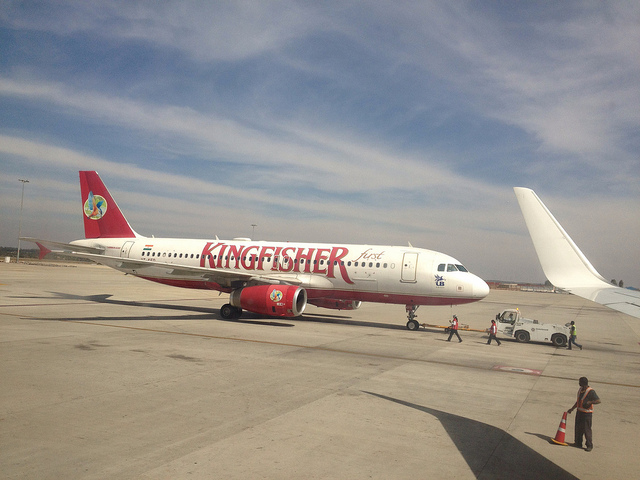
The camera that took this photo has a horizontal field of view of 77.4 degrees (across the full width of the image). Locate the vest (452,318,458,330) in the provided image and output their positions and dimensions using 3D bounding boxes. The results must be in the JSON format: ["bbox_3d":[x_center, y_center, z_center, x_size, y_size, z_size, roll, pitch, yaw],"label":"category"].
[{"bbox_3d":[7.524,4.699,22.272,0.183,0.640,0.313,3,-4,13],"label":"vest"}]

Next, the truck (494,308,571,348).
[{"bbox_3d":[12.786,5.394,24.114,3.721,1.485,2.367,2,-3,23],"label":"truck"}]

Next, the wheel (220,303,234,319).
[{"bbox_3d":[-5.964,4.676,25.857,1.238,1.157,0.460,-4,-6,6],"label":"wheel"}]

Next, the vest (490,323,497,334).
[{"bbox_3d":[9.741,4.994,22.396,0.307,0.621,0.598,2,-4,20],"label":"vest"}]

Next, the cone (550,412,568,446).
[{"bbox_3d":[5.579,4.360,9.298,0.347,0.714,0.377,1,-4,29],"label":"cone"}]

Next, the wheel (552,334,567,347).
[{"bbox_3d":[13.792,5.756,22.917,0.813,0.765,0.294,3,10,17],"label":"wheel"}]

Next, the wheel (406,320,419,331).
[{"bbox_3d":[5.918,5.443,25.338,0.786,0.749,0.301,4,5,37],"label":"wheel"}]

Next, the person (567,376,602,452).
[{"bbox_3d":[6.091,4.024,9.245,0.606,1.518,0.485,4,-4,-15],"label":"person"}]

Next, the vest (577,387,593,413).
[{"bbox_3d":[6.144,3.717,9.267,0.256,0.520,0.420,1,-4,32],"label":"vest"}]

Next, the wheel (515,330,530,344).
[{"bbox_3d":[12.070,5.726,23.712,0.755,0.721,0.267,-18,-11,33],"label":"wheel"}]
